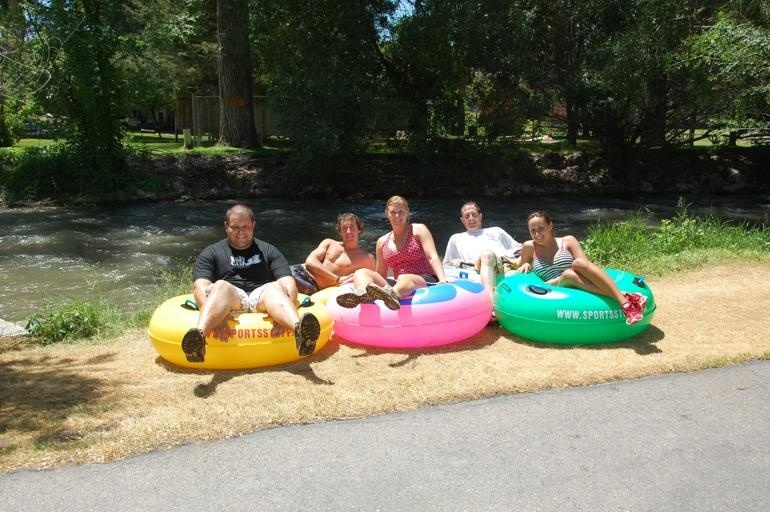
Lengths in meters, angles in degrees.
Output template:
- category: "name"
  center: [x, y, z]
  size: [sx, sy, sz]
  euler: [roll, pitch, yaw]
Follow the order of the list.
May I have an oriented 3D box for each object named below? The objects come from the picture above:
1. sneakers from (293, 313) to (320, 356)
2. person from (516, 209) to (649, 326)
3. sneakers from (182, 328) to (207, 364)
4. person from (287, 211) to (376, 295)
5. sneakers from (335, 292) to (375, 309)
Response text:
- category: "sneakers"
  center: [-0.976, 0.917, 7.923]
  size: [0.255, 0.556, 0.244]
  euler: [2, 12, -27]
- category: "person"
  center: [2.571, 0.100, 8.765]
  size: [0.926, 1.267, 2.031]
  euler: [-17, 15, -22]
- category: "sneakers"
  center: [-2.208, 1.043, 7.583]
  size: [0.215, 0.448, 0.207]
  euler: [2, 21, -6]
- category: "person"
  center: [-0.774, 0.032, 10.193]
  size: [0.903, 1.049, 1.464]
  euler: [24, 3, 14]
- category: "sneakers"
  center: [-0.374, 0.585, 8.495]
  size: [0.493, 0.188, 0.204]
  euler: [0, 16, 4]
